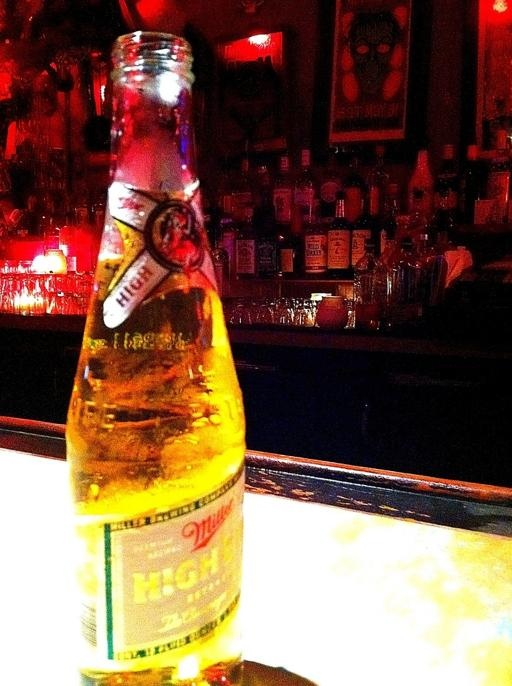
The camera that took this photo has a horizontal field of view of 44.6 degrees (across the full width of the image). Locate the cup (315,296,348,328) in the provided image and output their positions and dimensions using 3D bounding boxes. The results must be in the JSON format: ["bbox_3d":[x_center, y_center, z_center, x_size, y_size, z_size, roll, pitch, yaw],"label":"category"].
[{"bbox_3d":[0.203,-0.083,1.687,0.088,0.077,0.085,2,0,0],"label":"cup"}]

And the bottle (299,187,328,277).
[{"bbox_3d":[0.199,-0.369,2.120,0.078,0.272,0.144,0,15,5],"label":"bottle"}]

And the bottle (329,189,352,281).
[{"bbox_3d":[0.273,-0.357,2.062,0.078,0.274,0.172,0,15,6],"label":"bottle"}]
